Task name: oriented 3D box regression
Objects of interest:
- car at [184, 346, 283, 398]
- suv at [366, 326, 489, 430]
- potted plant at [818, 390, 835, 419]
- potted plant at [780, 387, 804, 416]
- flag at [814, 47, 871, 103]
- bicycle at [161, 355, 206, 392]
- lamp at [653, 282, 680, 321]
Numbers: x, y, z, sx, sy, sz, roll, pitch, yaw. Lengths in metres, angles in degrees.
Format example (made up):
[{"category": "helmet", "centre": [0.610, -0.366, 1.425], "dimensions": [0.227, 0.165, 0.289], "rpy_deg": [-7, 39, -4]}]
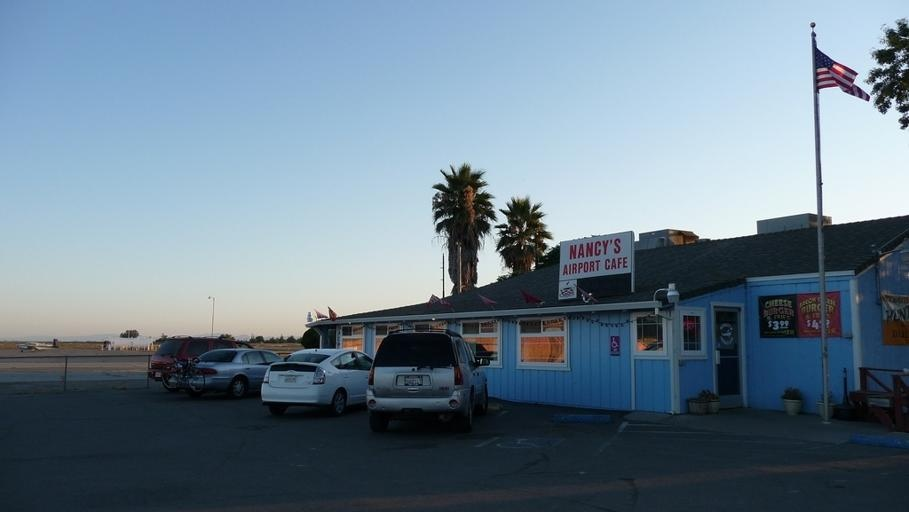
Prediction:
[{"category": "car", "centre": [-8.746, 4.659, 30.113], "dimensions": [1.939, 1.315, 4.363], "rpy_deg": [-4, -4, 37]}, {"category": "suv", "centre": [-0.796, 3.763, 22.602], "dimensions": [3.696, 2.967, 2.096], "rpy_deg": [-1, 4, -18]}, {"category": "potted plant", "centre": [11.613, 4.723, 23.511], "dimensions": [0.799, 0.788, 0.786], "rpy_deg": [2, -1, 26]}, {"category": "potted plant", "centre": [11.082, 4.787, 24.718], "dimensions": [0.626, 0.810, 0.577], "rpy_deg": [-3, 5, -41]}, {"category": "flag", "centre": [12.305, -5.829, 23.901], "dimensions": [1.788, 1.835, 0.219], "rpy_deg": [7, -12, -1]}, {"category": "bicycle", "centre": [-10.615, 4.839, 30.082], "dimensions": [1.409, 1.426, 2.744], "rpy_deg": [6, -10, -31]}, {"category": "lamp", "centre": [7.033, 1.503, 24.898], "dimensions": [0.841, 1.132, 0.967], "rpy_deg": [1, 4, 18]}]
